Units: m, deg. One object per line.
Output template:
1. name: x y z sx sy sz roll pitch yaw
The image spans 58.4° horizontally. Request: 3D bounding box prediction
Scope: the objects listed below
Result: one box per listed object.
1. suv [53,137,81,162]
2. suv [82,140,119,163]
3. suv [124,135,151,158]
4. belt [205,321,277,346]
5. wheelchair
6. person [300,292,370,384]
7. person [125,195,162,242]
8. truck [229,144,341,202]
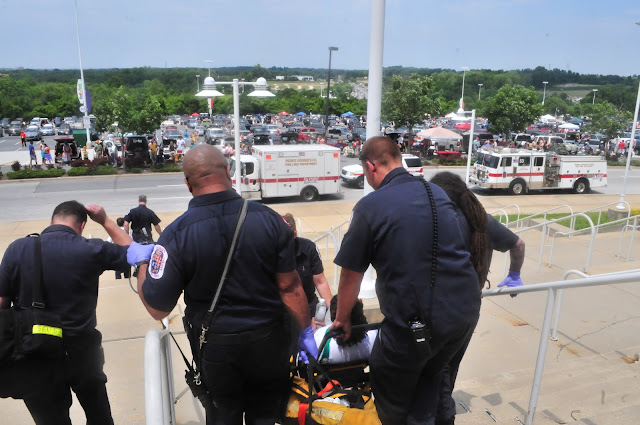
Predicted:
1. suv: -15.579 -3.933 35.043 1.474 1.567 2.677 0 22 -18
2. suv: -14.138 -3.930 36.740 1.932 1.457 3.160 -7 15 -35
3. suv: -11.138 -3.835 34.781 1.182 1.088 1.926 -3 28 -20
4. belt: -0.706 1.106 5.210 0.670 0.125 0.092 -5 8 -12
5. wheelchair: 0.107 1.389 5.690 0.643 0.790 0.584 0 -1 -8
6. person: 0.244 1.209 5.764 0.603 0.843 0.550 -2 -1 -21
7. person: -4.355 0.445 13.882 0.866 1.783 0.582 5 21 -18
8. truck: -1.565 -1.752 25.319 4.516 2.264 2.339 -5 16 -17
